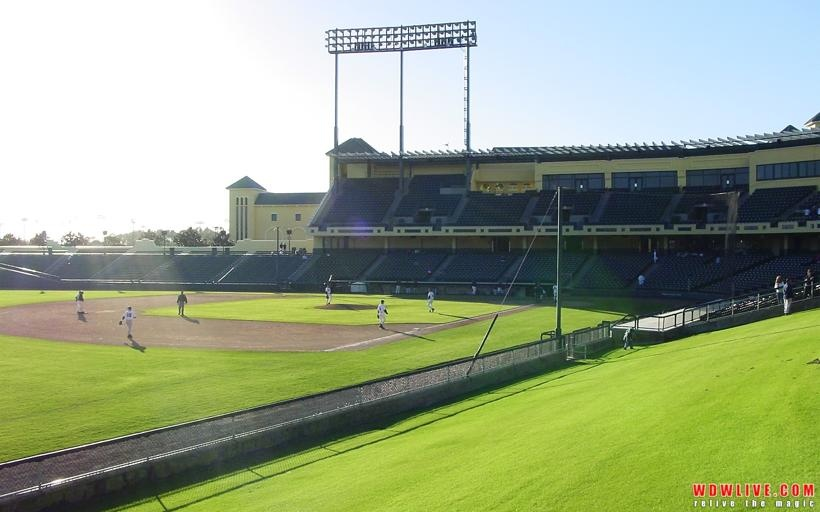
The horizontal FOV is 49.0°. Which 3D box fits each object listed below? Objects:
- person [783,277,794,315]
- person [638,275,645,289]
[{"bbox_3d":[24.062,2.613,57.324,0.539,2.291,1.575,1,-6,20],"label":"person"},{"bbox_3d":[21.561,2.344,83.725,0.665,1.116,1.342,2,-5,14],"label":"person"}]
